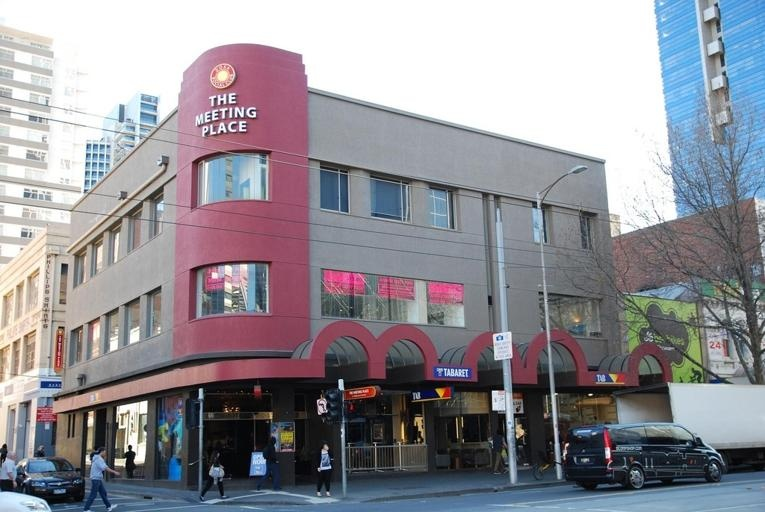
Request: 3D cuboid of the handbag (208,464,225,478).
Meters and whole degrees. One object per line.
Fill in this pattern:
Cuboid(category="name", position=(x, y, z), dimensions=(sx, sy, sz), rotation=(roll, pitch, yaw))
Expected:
Cuboid(category="handbag", position=(-6.975, 9.073, 29.762), dimensions=(0.551, 0.538, 0.610), rotation=(-1, -19, -14))

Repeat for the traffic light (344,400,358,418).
Cuboid(category="traffic light", position=(-1.600, 7.987, 36.701), dimensions=(0.406, 0.893, 0.854), rotation=(-15, -21, 25))

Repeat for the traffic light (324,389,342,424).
Cuboid(category="traffic light", position=(-2.039, 6.245, 29.547), dimensions=(0.823, 1.292, 0.508), rotation=(-2, -19, -12))

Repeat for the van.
Cuboid(category="van", position=(11.040, 8.323, 29.651), dimensions=(7.117, 2.599, 2.052), rotation=(3, -20, -23))

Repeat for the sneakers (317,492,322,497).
Cuboid(category="sneakers", position=(-2.665, 10.044, 29.846), dimensions=(0.187, 0.158, 0.398), rotation=(-3, -19, -6))

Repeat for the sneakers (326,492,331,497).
Cuboid(category="sneakers", position=(-2.282, 10.029, 29.796), dimensions=(0.188, 0.159, 0.413), rotation=(-3, -19, -6))

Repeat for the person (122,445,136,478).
Cuboid(category="person", position=(-13.890, 11.343, 39.030), dimensions=(0.291, 1.746, 1.103), rotation=(8, -23, -35))

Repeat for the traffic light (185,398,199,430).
Cuboid(category="traffic light", position=(-7.908, 6.574, 29.644), dimensions=(0.502, 1.119, 0.664), rotation=(1, -20, -18))
